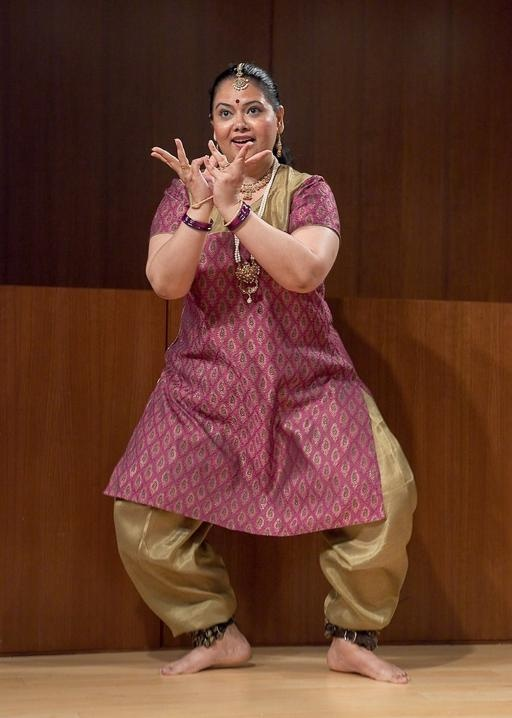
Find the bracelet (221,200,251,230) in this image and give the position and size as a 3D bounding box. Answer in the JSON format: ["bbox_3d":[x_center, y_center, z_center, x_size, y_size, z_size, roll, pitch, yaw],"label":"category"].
[{"bbox_3d":[-0.036,-0.262,1.477,0.020,0.053,0.038,37,-29,-29],"label":"bracelet"}]

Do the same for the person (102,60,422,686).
[{"bbox_3d":[0.016,0.079,1.639,0.627,1.317,0.504,3,16,11],"label":"person"}]
